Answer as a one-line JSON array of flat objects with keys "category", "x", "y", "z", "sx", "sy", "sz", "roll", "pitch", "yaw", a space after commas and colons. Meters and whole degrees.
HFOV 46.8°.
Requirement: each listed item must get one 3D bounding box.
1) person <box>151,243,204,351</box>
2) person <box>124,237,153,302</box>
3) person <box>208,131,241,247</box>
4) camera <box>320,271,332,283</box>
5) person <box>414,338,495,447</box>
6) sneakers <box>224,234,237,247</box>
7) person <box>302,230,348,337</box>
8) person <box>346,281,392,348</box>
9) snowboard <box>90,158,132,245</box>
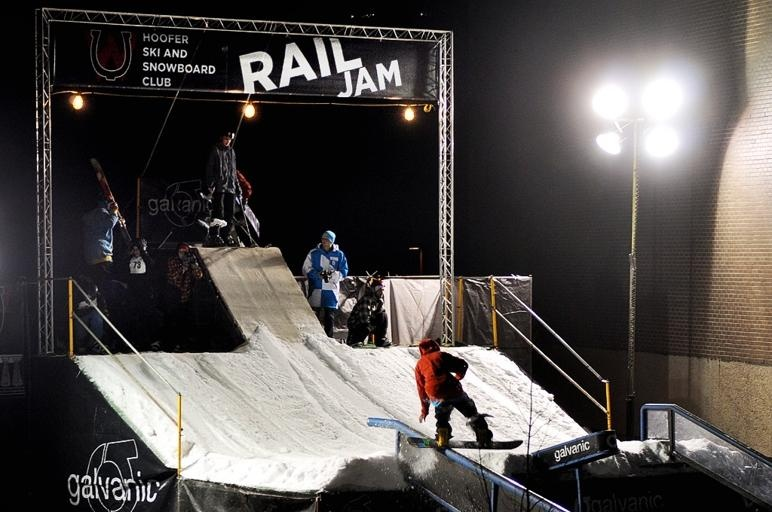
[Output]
[{"category": "person", "x": -4.873, "y": 1.060, "z": 21.085, "sx": 1.118, "sy": 2.273, "sz": 1.073, "roll": -8, "pitch": 12, "yaw": -25}, {"category": "person", "x": -6.212, "y": 0.319, "z": 22.447, "sx": 0.634, "sy": 1.433, "sz": 1.368, "roll": -6, "pitch": 11, "yaw": -15}, {"category": "person", "x": -4.023, "y": -1.597, "z": 21.866, "sx": 0.754, "sy": 2.664, "sz": 0.369, "roll": -6, "pitch": 11, "yaw": -15}, {"category": "camera", "x": -1.384, "y": 0.485, "z": 20.680, "sx": 0.176, "sy": 0.269, "sz": 0.092, "roll": 3, "pitch": 1, "yaw": -2}, {"category": "person", "x": 1.147, "y": 2.758, "z": 17.197, "sx": 1.197, "sy": 0.882, "sz": 2.486, "roll": -15, "pitch": 54, "yaw": -3}, {"category": "sneakers", "x": -3.833, "y": -0.364, "z": 22.079, "sx": 0.158, "sy": 0.214, "sz": 0.485, "roll": 0, "pitch": 4, "yaw": 21}, {"category": "person", "x": -1.398, "y": 0.758, "z": 21.007, "sx": 0.983, "sy": 2.599, "sz": 1.351, "roll": -7, "pitch": 11, "yaw": -18}, {"category": "person", "x": -0.414, "y": 1.366, "z": 21.040, "sx": 0.991, "sy": 1.589, "sz": 0.917, "roll": 0, "pitch": 6, "yaw": -36}, {"category": "snowboard", "x": -7.141, "y": -1.385, "z": 23.111, "sx": 0.300, "sy": 2.791, "sz": 0.178, "roll": -41, "pitch": -23, "yaw": 29}]
